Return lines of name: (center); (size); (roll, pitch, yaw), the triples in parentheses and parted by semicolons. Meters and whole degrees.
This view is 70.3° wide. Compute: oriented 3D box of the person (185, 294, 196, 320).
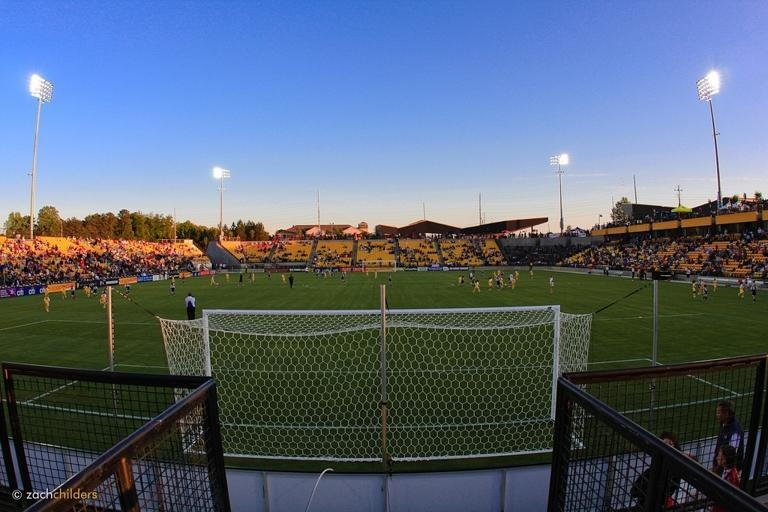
person: (-8.595, 2.198, 24.367); (0.335, 1.223, 1.109); (-5, 1, -24)

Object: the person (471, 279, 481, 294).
person: (6.084, 2.026, 36.211); (0.725, 1.330, 0.481); (-3, -3, 20)
